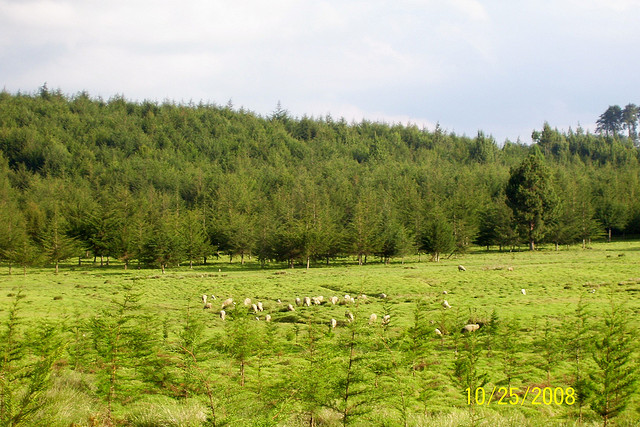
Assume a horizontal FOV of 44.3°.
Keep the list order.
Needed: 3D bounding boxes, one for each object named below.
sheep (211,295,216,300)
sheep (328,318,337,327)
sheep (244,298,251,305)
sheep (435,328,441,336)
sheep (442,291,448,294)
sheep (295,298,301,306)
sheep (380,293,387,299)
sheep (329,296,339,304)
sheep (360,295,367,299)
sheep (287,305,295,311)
[{"bbox_3d":[-17.268,13.540,126.718,0.509,0.709,1.836,2,3,-19],"label":"sheep"},{"bbox_3d":[1.805,16.205,116.541,1.105,1.018,1.536,-4,13,-14],"label":"sheep"},{"bbox_3d":[-11.529,13.912,124.166,1.051,0.690,1.249,-3,13,-9],"label":"sheep"},{"bbox_3d":[16.923,17.081,113.774,1.012,1.142,0.581,-11,17,-39],"label":"sheep"},{"bbox_3d":[20.095,12.681,126.397,0.782,0.532,0.910,-3,13,-9],"label":"sheep"},{"bbox_3d":[-3.629,13.765,123.801,0.640,0.881,1.147,-3,13,-10],"label":"sheep"},{"bbox_3d":[10.002,13.197,125.711,0.777,0.726,1.286,9,-4,-43],"label":"sheep"},{"bbox_3d":[2.081,13.567,124.245,1.217,0.781,2.015,-5,14,-19],"label":"sheep"},{"bbox_3d":[6.869,13.264,124.750,1.136,0.518,0.557,-11,16,-38],"label":"sheep"},{"bbox_3d":[-4.573,14.519,121.037,0.970,0.724,0.917,-4,13,-13],"label":"sheep"}]
